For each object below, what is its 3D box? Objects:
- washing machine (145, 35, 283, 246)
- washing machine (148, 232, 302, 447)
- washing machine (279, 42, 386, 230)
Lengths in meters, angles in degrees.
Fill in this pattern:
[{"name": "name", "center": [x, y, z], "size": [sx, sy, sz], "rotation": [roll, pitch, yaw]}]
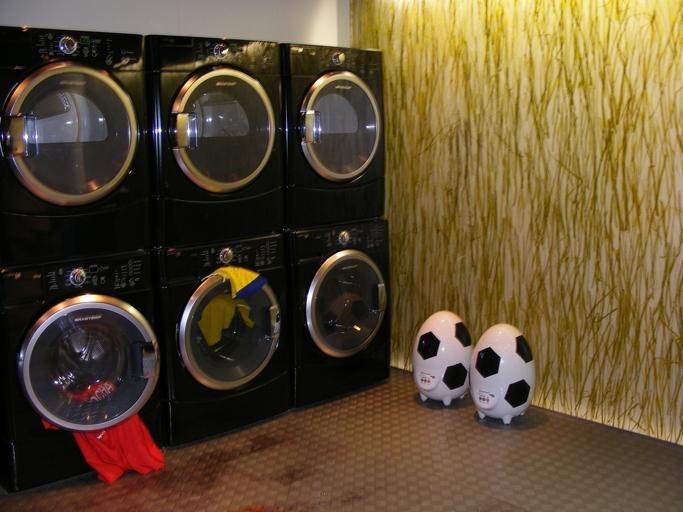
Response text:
[{"name": "washing machine", "center": [-0.750, -0.581, 3.106], "size": [0.826, 1.163, 0.926], "rotation": [-4, 7, -4]}, {"name": "washing machine", "center": [-0.679, 0.361, 3.387], "size": [0.802, 1.338, 0.865], "rotation": [-9, 14, -37]}, {"name": "washing machine", "center": [0.031, -0.694, 3.472], "size": [0.777, 1.131, 0.779], "rotation": [-6, -3, -13]}]
